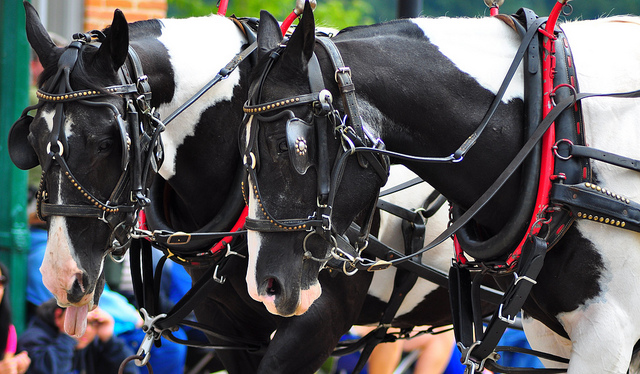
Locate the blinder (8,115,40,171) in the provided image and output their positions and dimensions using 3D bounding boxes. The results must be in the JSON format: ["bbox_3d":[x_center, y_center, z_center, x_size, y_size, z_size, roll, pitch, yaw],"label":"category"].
[{"bbox_3d":[-1.567,-0.233,5.391,0.227,0.249,0.100,1,-12,-5],"label":"blinder"}]

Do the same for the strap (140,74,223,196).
[{"bbox_3d":[-0.690,-0.448,5.464,0.551,0.073,0.061,-32,-15,31],"label":"strap"}]

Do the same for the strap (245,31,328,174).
[{"bbox_3d":[-0.177,-0.393,4.862,0.245,0.613,0.260,3,3,8],"label":"strap"}]

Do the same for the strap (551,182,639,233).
[{"bbox_3d":[1.327,0.082,4.944,0.647,0.145,0.160,16,-5,-4],"label":"strap"}]

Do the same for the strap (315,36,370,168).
[{"bbox_3d":[0.104,-0.409,4.954,0.204,0.603,0.187,2,2,6],"label":"strap"}]

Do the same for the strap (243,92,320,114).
[{"bbox_3d":[-0.183,-0.400,4.873,0.360,0.114,0.081,2,19,2],"label":"strap"}]

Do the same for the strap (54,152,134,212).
[{"bbox_3d":[-1.149,-0.020,5.186,0.387,0.317,0.051,-1,20,-7],"label":"strap"}]

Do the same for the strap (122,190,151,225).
[{"bbox_3d":[-0.938,0.110,5.319,0.137,0.172,0.050,30,17,25],"label":"strap"}]

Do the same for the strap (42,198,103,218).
[{"bbox_3d":[-1.266,0.116,5.195,0.298,0.087,0.063,2,19,2],"label":"strap"}]

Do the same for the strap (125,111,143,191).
[{"bbox_3d":[-0.952,-0.186,5.245,0.082,0.392,0.078,1,4,-19],"label":"strap"}]
